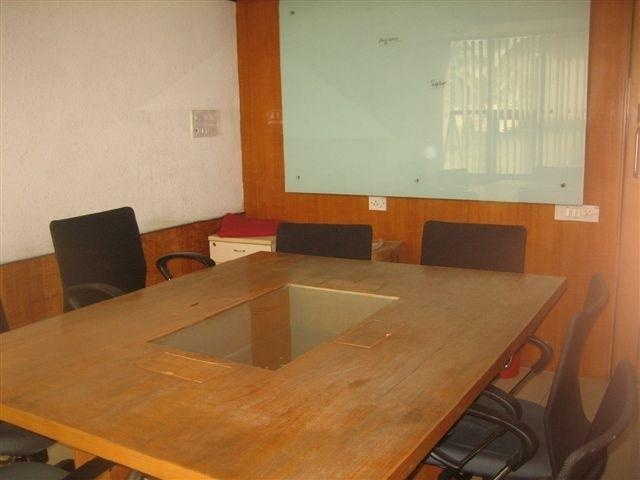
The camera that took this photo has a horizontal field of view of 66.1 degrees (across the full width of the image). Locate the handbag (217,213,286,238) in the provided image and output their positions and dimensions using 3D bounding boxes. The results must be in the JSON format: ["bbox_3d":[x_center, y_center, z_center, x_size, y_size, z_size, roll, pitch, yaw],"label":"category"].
[{"bbox_3d":[-0.659,-0.113,4.478,0.414,0.120,0.312,2,4,4],"label":"handbag"}]

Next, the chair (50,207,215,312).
[{"bbox_3d":[-1.238,0.119,3.140,0.546,0.788,0.598,9,20,37],"label":"chair"}]
